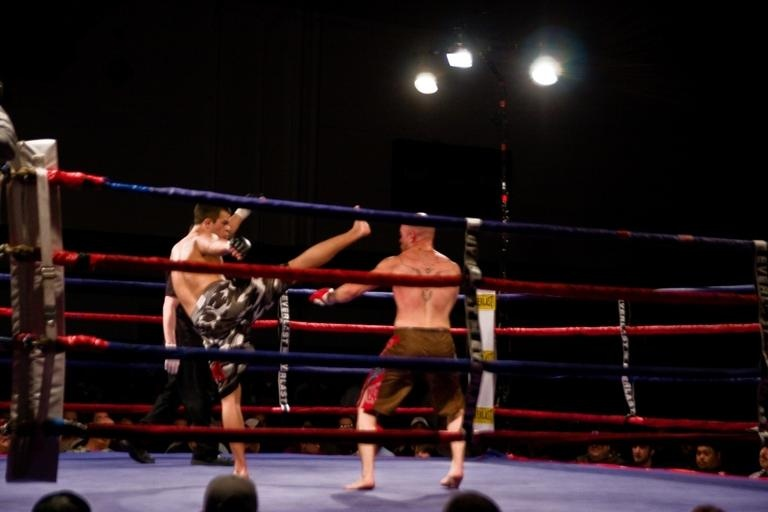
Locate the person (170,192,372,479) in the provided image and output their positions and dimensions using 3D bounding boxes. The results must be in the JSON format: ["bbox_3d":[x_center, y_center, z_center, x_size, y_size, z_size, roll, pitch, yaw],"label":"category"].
[{"bbox_3d":[-1.194,0.558,7.060,1.052,2.297,1.250,13,-20,-18],"label":"person"}]

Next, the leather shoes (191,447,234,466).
[{"bbox_3d":[-1.586,1.866,8.189,0.509,0.152,0.158,1,-5,0],"label":"leather shoes"}]
